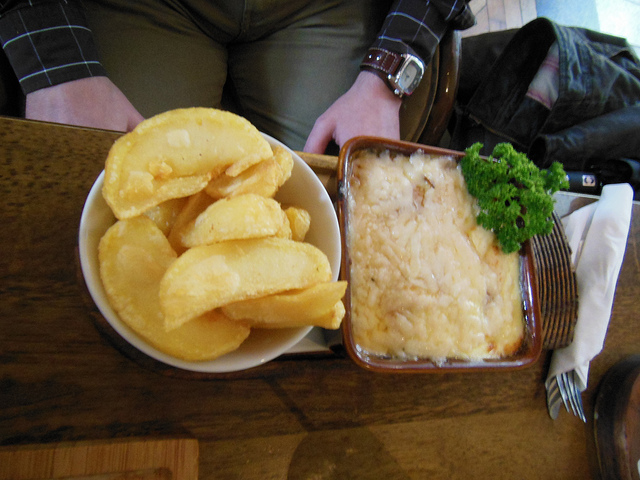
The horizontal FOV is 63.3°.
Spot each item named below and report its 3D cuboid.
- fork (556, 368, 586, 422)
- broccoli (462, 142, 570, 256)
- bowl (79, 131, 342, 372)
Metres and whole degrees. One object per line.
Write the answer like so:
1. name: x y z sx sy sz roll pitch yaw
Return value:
1. fork: 0.909 0.559 1.890 0.079 0.034 0.277 -10 14 20
2. broccoli: 0.727 -0.227 1.816 0.361 0.148 0.355 40 22 0
3. bowl: -0.256 0.121 1.457 0.712 0.572 0.474 -10 54 -15
